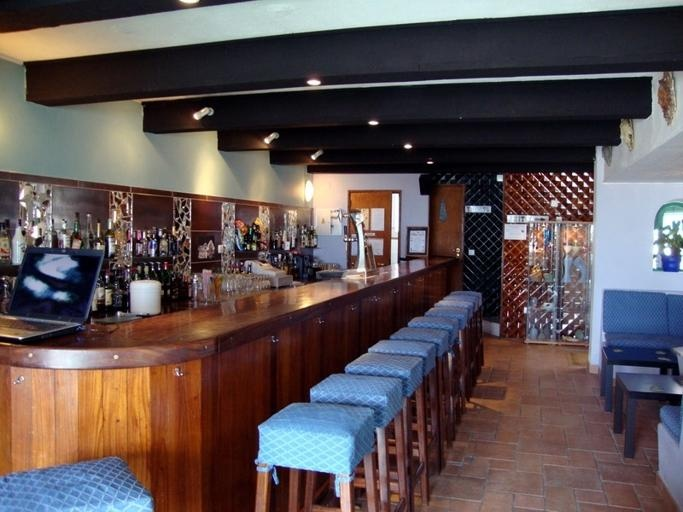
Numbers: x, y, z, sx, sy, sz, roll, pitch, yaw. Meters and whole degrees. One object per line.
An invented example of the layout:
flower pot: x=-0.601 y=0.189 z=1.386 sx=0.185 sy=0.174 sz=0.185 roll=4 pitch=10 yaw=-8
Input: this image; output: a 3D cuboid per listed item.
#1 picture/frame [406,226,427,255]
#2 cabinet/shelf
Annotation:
picture/frame: x=1.276 y=-0.280 z=9.186 sx=0.419 sy=0.633 sz=0.047 roll=1 pitch=3 yaw=9
cabinet/shelf: x=3.193 y=0.346 z=8.001 sx=0.895 sy=1.781 sz=0.633 roll=0 pitch=4 yaw=21
